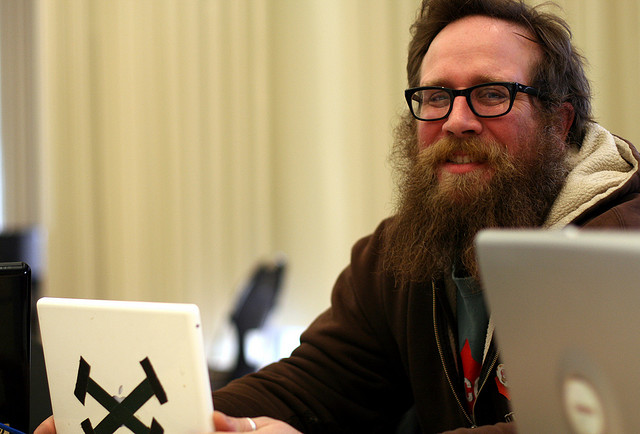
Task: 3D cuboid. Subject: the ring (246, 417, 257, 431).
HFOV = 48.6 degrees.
[{"bbox_3d":[-0.223,0.692,2.368,0.009,0.038,0.038,-34,36,-20],"label":"ring"}]
